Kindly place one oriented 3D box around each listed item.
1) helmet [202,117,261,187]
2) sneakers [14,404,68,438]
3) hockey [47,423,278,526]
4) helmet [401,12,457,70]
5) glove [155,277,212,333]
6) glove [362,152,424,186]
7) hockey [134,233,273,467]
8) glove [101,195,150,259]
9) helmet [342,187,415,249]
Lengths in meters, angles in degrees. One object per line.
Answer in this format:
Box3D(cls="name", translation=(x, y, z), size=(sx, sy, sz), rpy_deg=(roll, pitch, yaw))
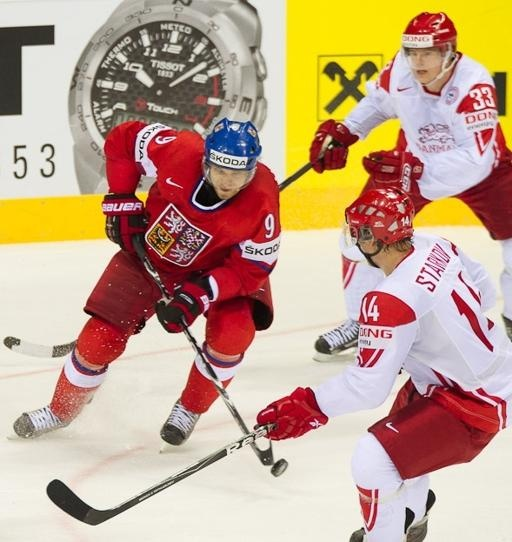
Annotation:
Box3D(cls="helmet", translation=(-0.082, -0.376, 2.228), size=(0.172, 0.207, 0.163), rpy_deg=(12, 10, -5))
Box3D(cls="sneakers", translation=(-0.743, 0.547, 2.590), size=(0.258, 0.066, 0.088), rpy_deg=(-9, -16, -15))
Box3D(cls="hockey", translation=(-0.299, 0.657, 2.258), size=(0.717, 0.125, 0.195), rpy_deg=(-14, 17, -22))
Box3D(cls="helmet", translation=(0.688, -0.958, 2.964), size=(0.237, 0.210, 0.272), rpy_deg=(0, 16, 37))
Box3D(cls="glove", translation=(-0.232, 0.101, 2.307), size=(0.226, 0.073, 0.174), rpy_deg=(-29, 28, 4))
Box3D(cls="glove", translation=(0.556, -0.414, 2.907), size=(0.229, 0.067, 0.141), rpy_deg=(10, 7, -11))
Box3D(cls="hockey", translation=(-0.191, 0.290, 2.533), size=(1.020, 0.083, 0.167), rpy_deg=(47, 12, 10))
Box3D(cls="glove", translation=(-0.484, -0.177, 2.618), size=(0.217, 0.190, 0.086), rpy_deg=(1, 1, 10))
Box3D(cls="helmet", translation=(0.337, -0.142, 1.915), size=(0.222, 0.122, 0.140), rpy_deg=(0, 22, 19))
